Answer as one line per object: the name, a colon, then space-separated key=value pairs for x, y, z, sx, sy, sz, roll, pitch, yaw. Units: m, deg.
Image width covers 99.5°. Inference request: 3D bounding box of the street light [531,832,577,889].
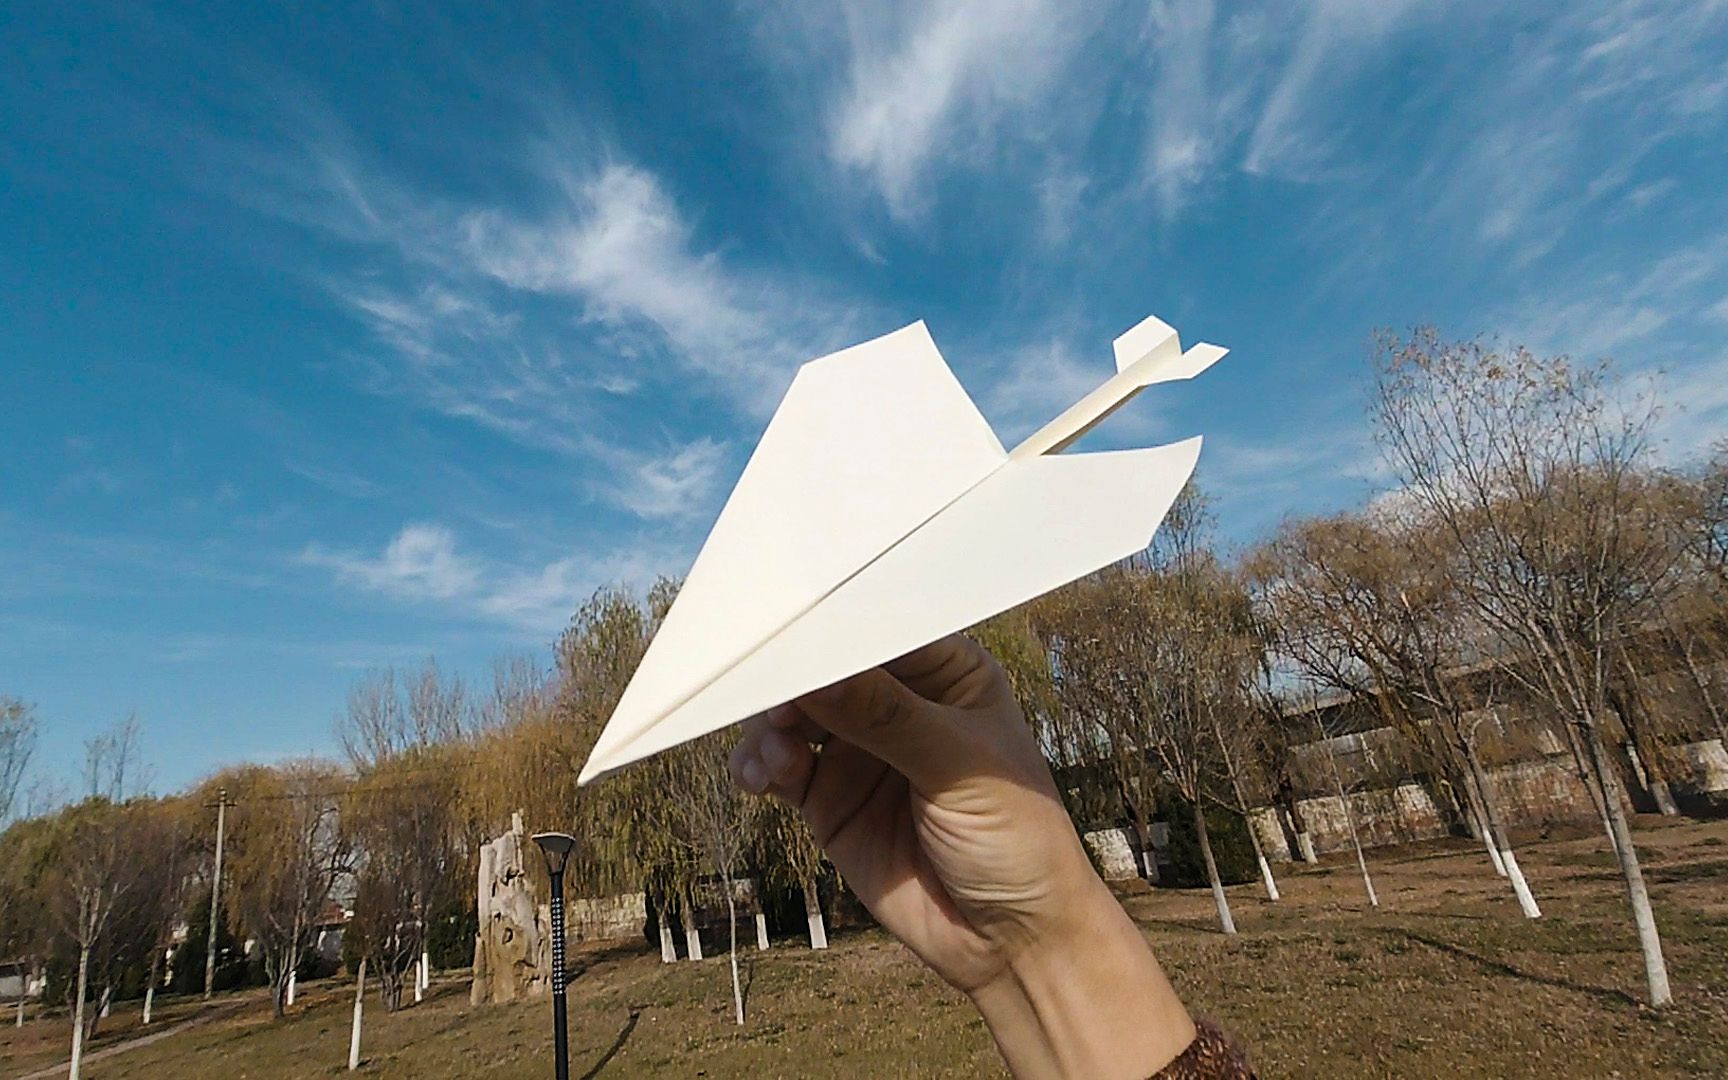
street light: x=-6.457 y=6.671 z=15.388 sx=0.685 sy=0.989 sz=1.229 roll=0 pitch=-12 yaw=-30
